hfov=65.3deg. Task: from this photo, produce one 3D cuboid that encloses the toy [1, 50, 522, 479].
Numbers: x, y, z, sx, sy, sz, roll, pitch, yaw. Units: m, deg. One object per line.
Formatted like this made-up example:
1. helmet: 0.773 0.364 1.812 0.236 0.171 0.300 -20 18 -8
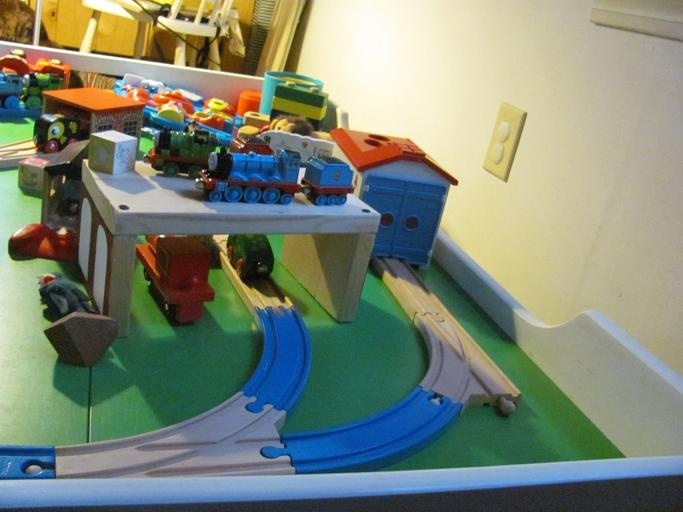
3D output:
1. toy: -0.149 0.098 1.411 1.227 0.389 0.921 0 26 -26
